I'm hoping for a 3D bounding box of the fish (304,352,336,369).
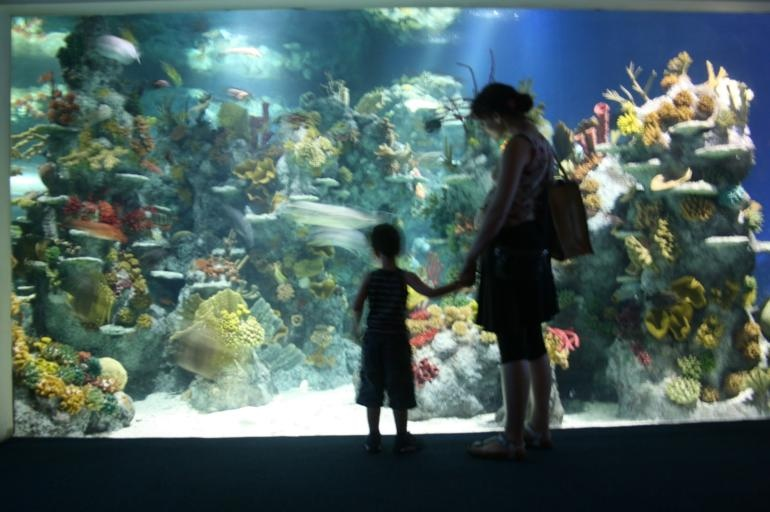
[{"bbox_3d":[-1.400,2.245,14.573,0.647,0.314,0.043,-2,-1,1],"label":"fish"}]

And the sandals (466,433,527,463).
[{"bbox_3d":[1.417,2.397,8.542,0.698,0.225,0.120,-2,-1,16],"label":"sandals"}]

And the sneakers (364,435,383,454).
[{"bbox_3d":[-0.147,2.423,8.817,0.222,0.229,0.228,-2,-1,-3],"label":"sneakers"}]
